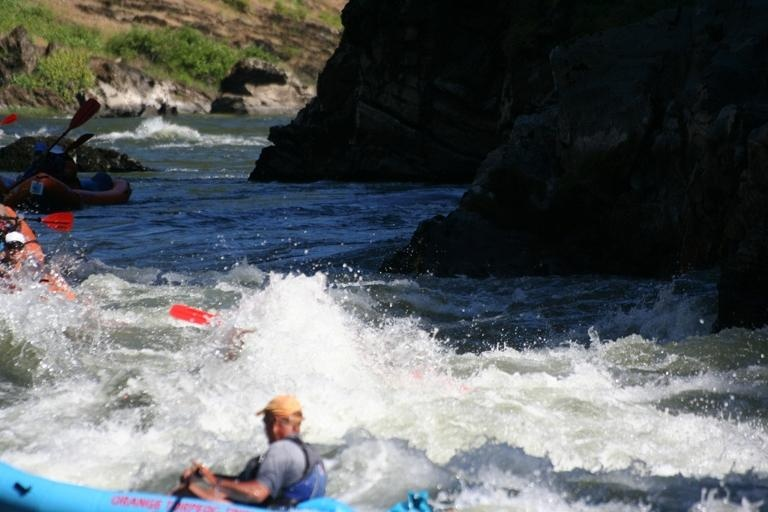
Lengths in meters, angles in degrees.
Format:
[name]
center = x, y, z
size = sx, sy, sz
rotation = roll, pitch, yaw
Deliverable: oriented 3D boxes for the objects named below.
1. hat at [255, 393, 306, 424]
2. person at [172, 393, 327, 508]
[hat]
center = -1.276, 1.910, 15.396
size = 0.448, 0.316, 0.328
rotation = 14, -4, 12
[person]
center = -1.598, 2.491, 15.638
size = 1.681, 1.129, 1.222
rotation = 0, -10, 4
